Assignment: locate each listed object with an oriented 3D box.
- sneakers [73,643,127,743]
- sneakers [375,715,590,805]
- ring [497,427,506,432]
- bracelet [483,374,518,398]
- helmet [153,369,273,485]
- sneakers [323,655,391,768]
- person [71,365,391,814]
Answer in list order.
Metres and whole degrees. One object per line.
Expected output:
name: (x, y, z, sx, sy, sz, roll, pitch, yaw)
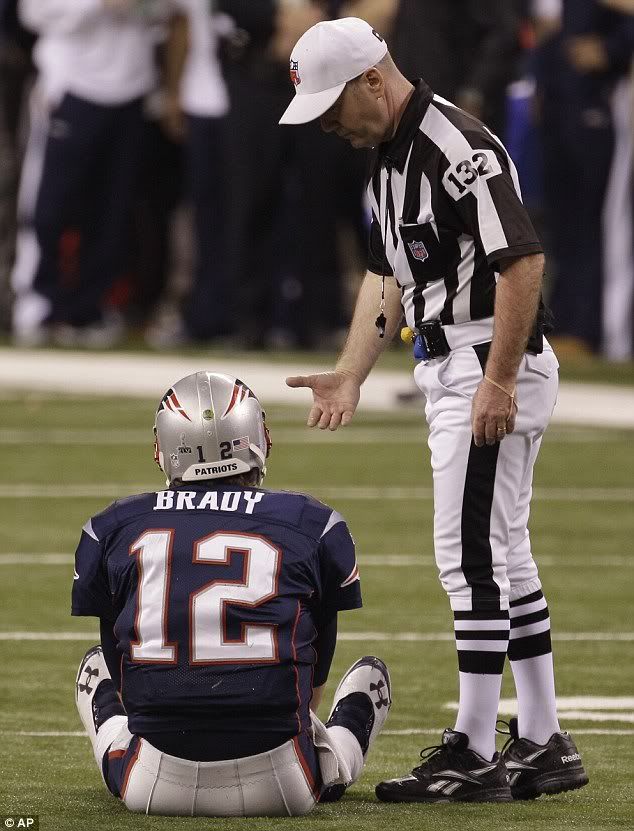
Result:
sneakers: (-0.530, 0.654, 4.554, 0.087, 0.100, 0.261, -18, 35, -2)
sneakers: (0.417, 0.844, 4.639, 0.582, 0.266, 0.199, 1, -13, -6)
ring: (0.447, 0.030, 4.538, 0.012, 0.012, 0.013, -1, 5, 0)
bracelet: (0.443, -0.069, 4.522, 0.057, 0.018, 0.045, 29, 12, 9)
helmet: (-0.237, 0.035, 4.339, 0.209, 0.239, 0.278, -3, 20, 0)
sneakers: (0.111, 0.681, 4.540, 0.099, 0.300, 0.118, 19, -2, 18)
person: (-0.208, 0.437, 4.328, 0.752, 0.974, 0.488, 1, 18, 1)
